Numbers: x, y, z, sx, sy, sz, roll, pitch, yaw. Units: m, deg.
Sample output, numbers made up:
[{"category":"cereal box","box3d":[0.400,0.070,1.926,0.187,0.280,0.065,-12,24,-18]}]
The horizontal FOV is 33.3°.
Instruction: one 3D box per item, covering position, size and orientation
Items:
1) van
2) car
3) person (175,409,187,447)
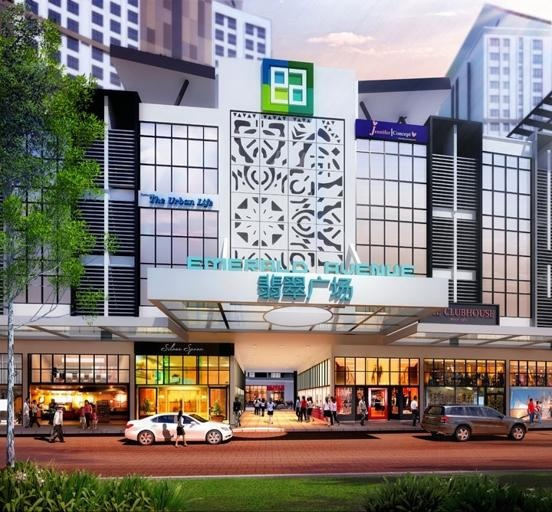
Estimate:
[{"category":"van","box3d":[9.112,7.425,41.344,4.378,1.627,1.895,1,-5,-12]},{"category":"car","box3d":[-4.309,7.564,40.026,5.193,1.713,2.115,0,-7,-5]},{"category":"person","box3d":[-3.995,7.235,38.817,0.478,1.407,1.762,0,-7,-6]}]
